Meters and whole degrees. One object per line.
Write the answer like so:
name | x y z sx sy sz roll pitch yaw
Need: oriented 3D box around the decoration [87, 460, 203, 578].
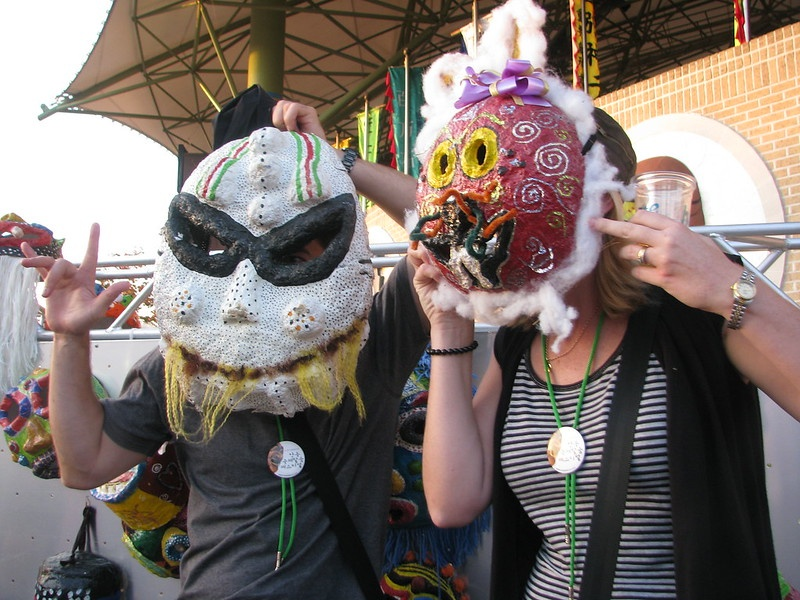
decoration | -0.899 0.827 3.121 0.395 0.450 0.274 -21 -10 37

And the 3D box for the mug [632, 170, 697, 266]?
mug | 0.774 -0.268 2.468 0.168 0.173 0.173 -3 -6 39

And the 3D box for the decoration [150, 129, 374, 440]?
decoration | -0.444 -0.079 2.878 0.710 0.992 0.754 2 1 -33
